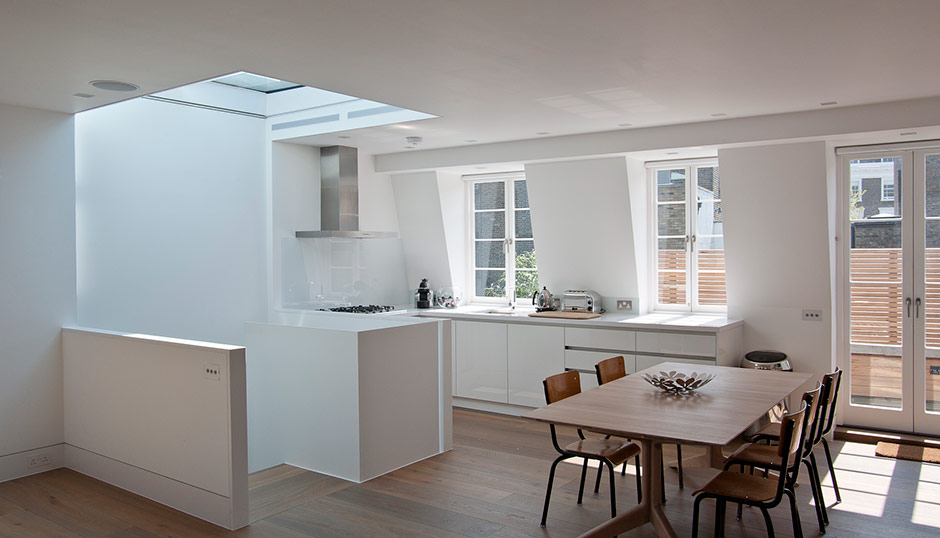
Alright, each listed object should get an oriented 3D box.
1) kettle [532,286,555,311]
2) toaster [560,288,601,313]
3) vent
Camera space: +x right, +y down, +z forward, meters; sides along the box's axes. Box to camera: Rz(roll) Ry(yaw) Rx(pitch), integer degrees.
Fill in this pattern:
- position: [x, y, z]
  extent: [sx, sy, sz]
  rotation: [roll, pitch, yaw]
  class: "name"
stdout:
- position: [1.121, 0.437, 8.297]
  extent: [0.399, 0.325, 0.285]
  rotation: [-1, -1, 17]
  class: "kettle"
- position: [1.604, 0.457, 8.021]
  extent: [0.605, 0.266, 0.343]
  rotation: [-2, -3, 40]
  class: "toaster"
- position: [-1.865, -1.174, 8.401]
  extent: [0.538, 1.174, 1.552]
  rotation: [-1, -3, 28]
  class: "vent"
